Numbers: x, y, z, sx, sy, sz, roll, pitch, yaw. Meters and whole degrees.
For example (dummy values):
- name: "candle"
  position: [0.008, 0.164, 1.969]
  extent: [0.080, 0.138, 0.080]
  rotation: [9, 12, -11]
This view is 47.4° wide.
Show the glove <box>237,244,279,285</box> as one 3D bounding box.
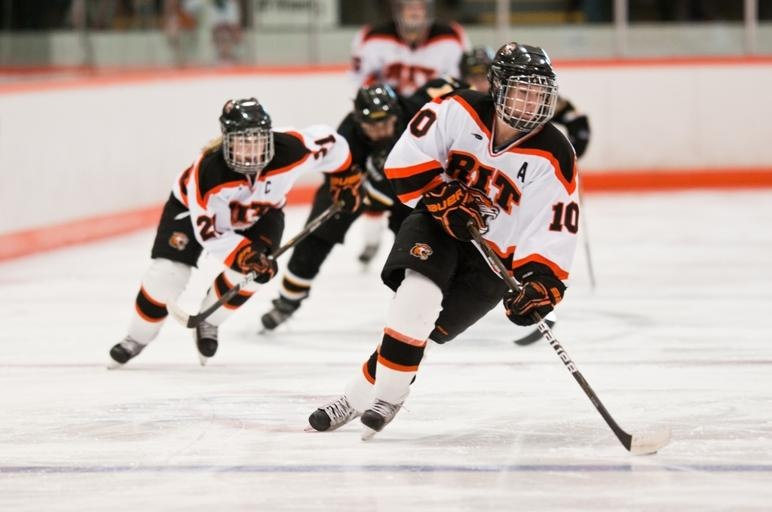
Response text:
- name: "glove"
  position: [-0.586, 0.041, 3.943]
  extent: [0.185, 0.191, 0.094]
  rotation: [-1, 14, -3]

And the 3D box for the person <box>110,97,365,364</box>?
- name: "person"
  position: [-0.685, -0.099, 4.177]
  extent: [1.361, 1.245, 0.831]
  rotation: [-12, 29, -34]

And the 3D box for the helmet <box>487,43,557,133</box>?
- name: "helmet"
  position: [0.522, -0.646, 3.379]
  extent: [0.252, 0.337, 0.216]
  rotation: [1, 14, 2]

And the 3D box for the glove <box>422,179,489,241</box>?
- name: "glove"
  position: [0.261, -0.175, 3.400]
  extent: [0.250, 0.218, 0.142]
  rotation: [1, 14, 4]

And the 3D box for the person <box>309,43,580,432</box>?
- name: "person"
  position: [0.380, -0.033, 3.493]
  extent: [0.763, 1.526, 1.016]
  rotation: [25, -5, -41]

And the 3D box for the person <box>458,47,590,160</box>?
- name: "person"
  position: [0.923, -1.076, 6.131]
  extent: [0.743, 0.352, 0.753]
  rotation: [-13, 6, -29]

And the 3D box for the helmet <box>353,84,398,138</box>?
- name: "helmet"
  position: [-0.043, -0.784, 4.774]
  extent: [0.274, 0.256, 0.273]
  rotation: [-6, 38, 3]

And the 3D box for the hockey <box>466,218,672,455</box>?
- name: "hockey"
  position: [0.826, 0.410, 4.041]
  extent: [1.315, 0.159, 0.198]
  rotation: [46, 15, 16]

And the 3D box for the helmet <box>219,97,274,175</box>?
- name: "helmet"
  position: [-0.642, -0.555, 3.959]
  extent: [0.266, 0.270, 0.333]
  rotation: [-8, 17, -28]
